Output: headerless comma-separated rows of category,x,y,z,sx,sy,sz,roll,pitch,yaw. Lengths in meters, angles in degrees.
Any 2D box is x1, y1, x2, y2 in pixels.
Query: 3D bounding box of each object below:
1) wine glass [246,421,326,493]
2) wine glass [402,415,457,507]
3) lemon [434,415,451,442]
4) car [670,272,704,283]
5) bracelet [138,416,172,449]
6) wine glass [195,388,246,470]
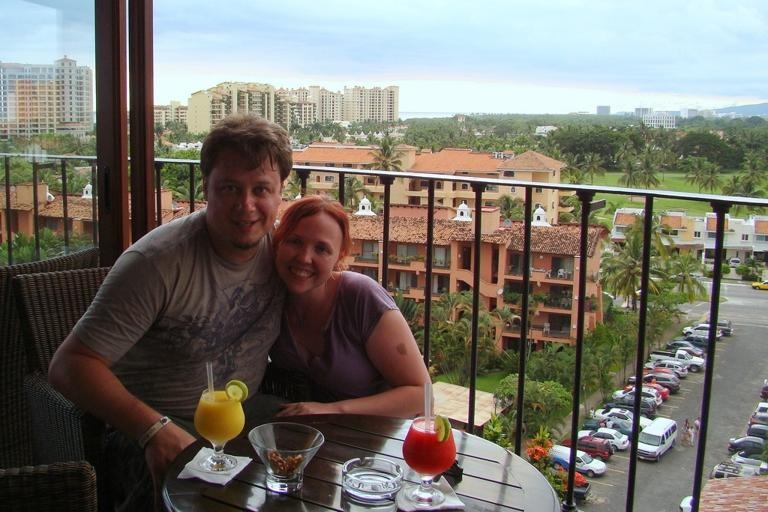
wine glass,-0.223,0.461,1.343,0.134,0.126,0.123,8,10,41
wine glass,0.101,0.452,1.332,0.117,0.194,0.113,2,8,6
lemon,0.127,0.387,1.295,0.034,0.045,0.062,4,8,-18
car,19.041,1.340,36.594,2.579,0.753,0.897,-2,9,-27
bracelet,-0.616,0.469,1.553,0.073,0.022,0.078,-45,6,-25
wine glass,-0.399,0.421,1.408,0.120,0.169,0.120,4,-2,-40
